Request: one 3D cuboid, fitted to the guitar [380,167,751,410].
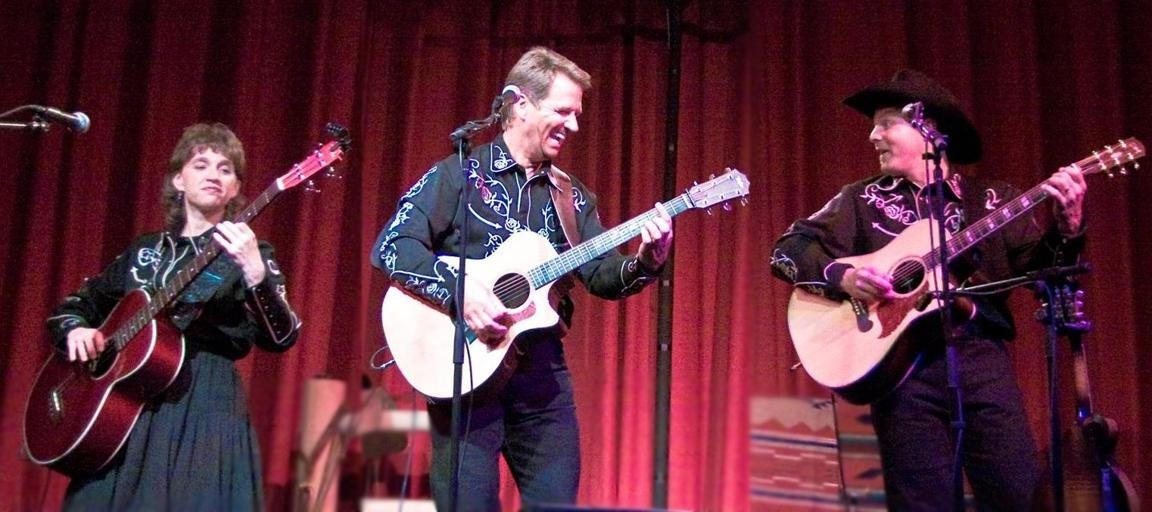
[{"bbox_3d":[-0.142,0.209,8.795,0.406,2.968,1.175,-49,-44,3],"label":"guitar"}]

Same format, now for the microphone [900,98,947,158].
[{"bbox_3d":[2.799,-1.035,8.625,0.176,0.467,0.235,-22,-10,-7],"label":"microphone"}]

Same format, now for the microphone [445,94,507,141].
[{"bbox_3d":[-0.838,-1.185,9.193,0.652,0.132,0.187,-41,-45,-3],"label":"microphone"}]

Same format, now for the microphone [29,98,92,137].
[{"bbox_3d":[-4.410,-1.185,9.192,0.431,0.169,0.223,36,-59,-14],"label":"microphone"}]

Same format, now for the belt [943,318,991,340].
[{"bbox_3d":[3.179,0.574,8.519,0.333,0.151,0.065,1,-24,-3],"label":"belt"}]
